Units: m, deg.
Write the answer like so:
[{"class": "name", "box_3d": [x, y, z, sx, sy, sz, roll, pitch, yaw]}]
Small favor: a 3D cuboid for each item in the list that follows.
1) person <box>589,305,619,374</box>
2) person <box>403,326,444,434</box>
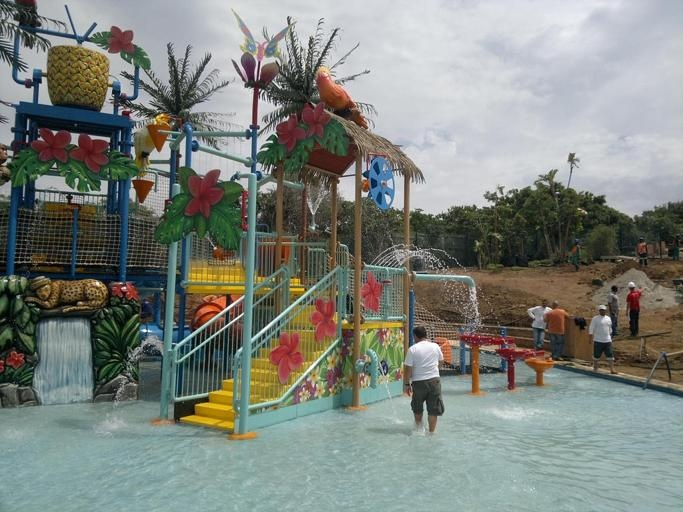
[{"class": "person", "box_3d": [7.719, 2.426, 15.791, 0.694, 1.951, 0.990, 1, 1, 27]}, {"class": "person", "box_3d": [1.557, 2.320, 10.103, 0.743, 1.968, 0.727, 1, 1, 6]}]
